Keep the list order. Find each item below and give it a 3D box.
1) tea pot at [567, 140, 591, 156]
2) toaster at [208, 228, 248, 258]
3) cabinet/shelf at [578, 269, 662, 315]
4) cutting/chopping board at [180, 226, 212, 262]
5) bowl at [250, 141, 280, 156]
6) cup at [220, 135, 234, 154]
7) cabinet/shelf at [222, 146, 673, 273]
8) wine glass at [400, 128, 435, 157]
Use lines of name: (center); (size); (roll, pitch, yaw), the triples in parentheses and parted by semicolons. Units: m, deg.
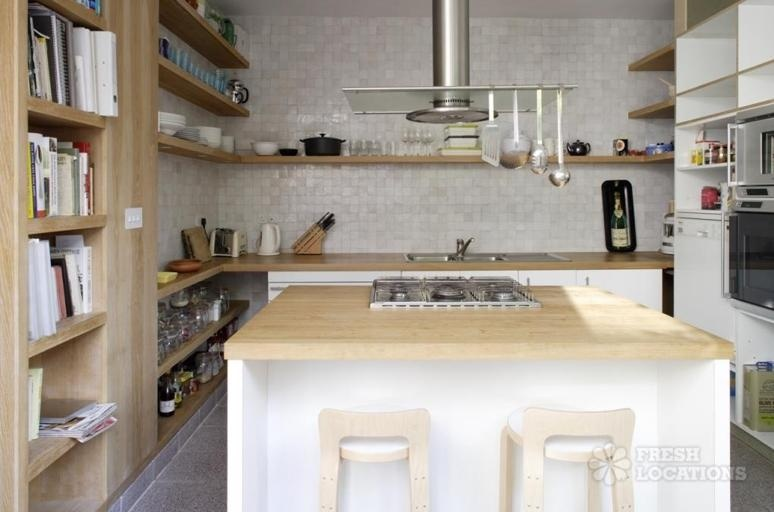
tea pot: (1.769, -1.000, 5.616); (0.211, 0.118, 0.138); (1, 2, 7)
toaster: (-1.441, -0.114, 5.392); (0.297, 0.195, 0.281); (1, 0, -1)
cabinet/shelf: (1.676, 0.242, 4.396); (0.443, 0.338, 0.130); (0, 0, 0)
cutting/chopping board: (-1.588, -0.090, 4.963); (0.047, 0.185, 0.315); (-12, 7, 10)
bowl: (-1.089, -0.944, 5.444); (0.166, 0.077, 0.180); (0, 6, 0)
cup: (-1.413, -0.999, 5.432); (0.187, 0.164, 0.166); (1, 8, -4)
cabinet/shelf: (0.525, -0.552, 5.252); (3.952, 1.180, 0.779); (2, -43, -3)
wine glass: (0.269, -1.006, 5.488); (0.315, 0.289, 0.333); (-2, 5, -21)
